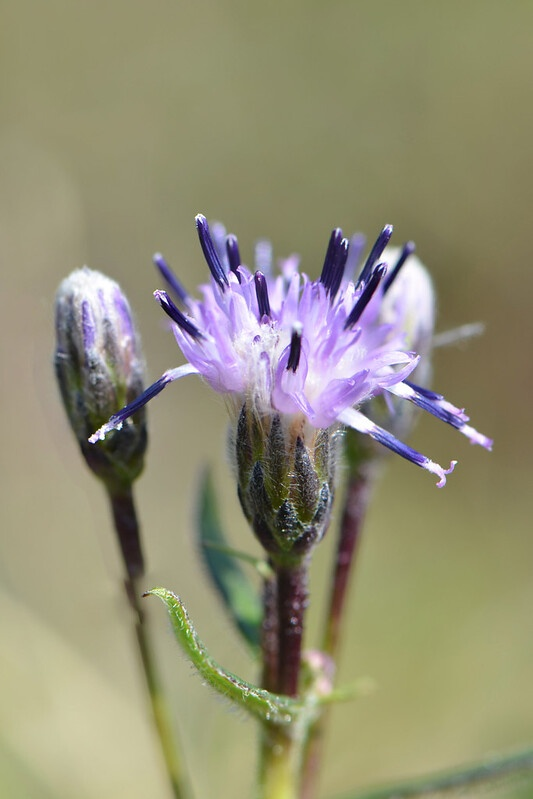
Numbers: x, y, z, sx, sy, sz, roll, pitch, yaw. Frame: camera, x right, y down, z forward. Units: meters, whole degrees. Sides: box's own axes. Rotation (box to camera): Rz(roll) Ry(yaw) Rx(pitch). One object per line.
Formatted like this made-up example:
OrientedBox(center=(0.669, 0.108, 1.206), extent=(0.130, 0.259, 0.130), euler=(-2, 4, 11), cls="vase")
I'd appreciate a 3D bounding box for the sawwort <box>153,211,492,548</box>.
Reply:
OrientedBox(center=(0.073, -0.051, 1.776), extent=(0.651, 0.747, 0.549), euler=(7, -4, -26), cls="sawwort")
